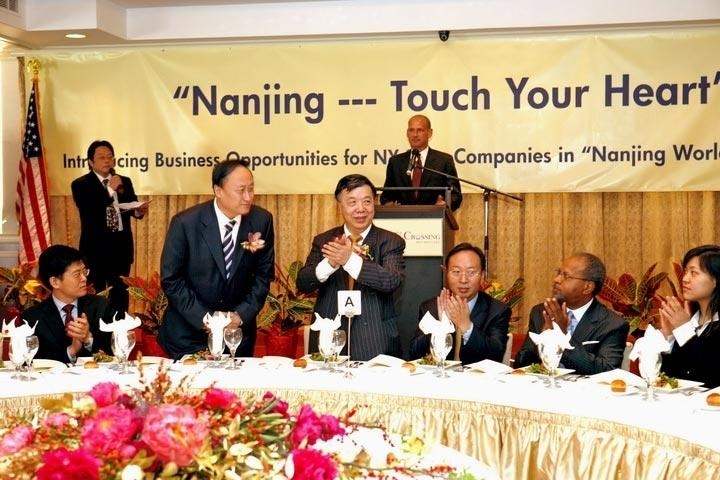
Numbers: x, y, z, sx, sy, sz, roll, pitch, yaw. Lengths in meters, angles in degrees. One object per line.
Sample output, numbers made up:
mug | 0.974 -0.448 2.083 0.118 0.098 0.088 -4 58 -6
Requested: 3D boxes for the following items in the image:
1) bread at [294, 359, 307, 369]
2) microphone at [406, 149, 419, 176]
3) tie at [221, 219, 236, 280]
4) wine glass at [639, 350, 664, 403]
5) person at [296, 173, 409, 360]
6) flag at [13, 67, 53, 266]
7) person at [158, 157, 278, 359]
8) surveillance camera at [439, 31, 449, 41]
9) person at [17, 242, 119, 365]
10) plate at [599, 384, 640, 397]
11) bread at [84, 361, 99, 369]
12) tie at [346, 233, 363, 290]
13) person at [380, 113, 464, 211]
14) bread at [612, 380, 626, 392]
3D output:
bread | -0.328 0.683 3.688 0.038 0.028 0.048 3 4 3
microphone | 0.491 -0.726 6.294 0.078 0.083 0.337 9 28 12
tie | -0.841 0.064 4.257 0.065 0.392 0.044 1 -8 -8
wine glass | 1.380 0.626 3.192 0.085 0.226 0.189 6 9 32
person | -0.065 0.178 4.246 0.684 1.159 0.544 2 7 3
flag | -3.531 -0.818 7.207 0.321 2.112 0.563 -2 8 -27
person | -0.936 0.362 4.389 0.708 1.701 0.653 0 21 -30
surveillance camera | 0.861 -2.103 6.941 0.114 0.094 0.157 3 8 9
person | -1.925 0.513 4.481 0.468 0.891 0.544 10 12 37
plate | 1.270 0.726 3.243 0.167 0.026 0.159 3 8 10
bread | -1.450 0.677 3.642 0.041 0.021 0.042 1 -2 25
tie | -0.026 0.134 4.233 0.079 0.278 0.202 1 -13 -2
person | 0.568 -0.384 6.563 0.755 1.641 0.520 -1 -7 13
bread | 1.249 0.707 3.240 0.052 0.041 0.053 -4 -4 33
